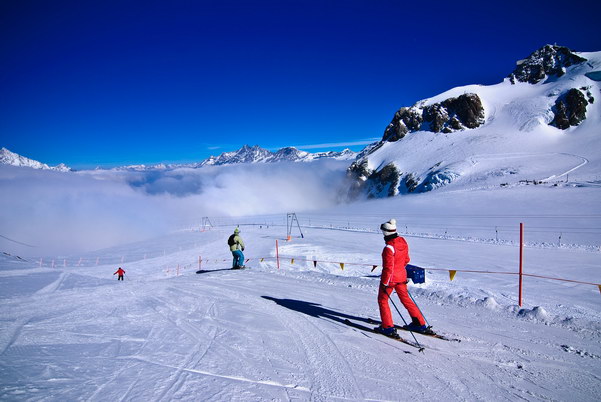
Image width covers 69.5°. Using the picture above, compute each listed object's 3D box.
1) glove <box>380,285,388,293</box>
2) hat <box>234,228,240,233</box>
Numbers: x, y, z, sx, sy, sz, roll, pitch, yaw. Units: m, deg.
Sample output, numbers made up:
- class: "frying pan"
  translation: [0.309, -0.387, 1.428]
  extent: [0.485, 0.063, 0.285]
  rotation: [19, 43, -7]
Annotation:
- class: "glove"
  translation: [6.468, 6.639, 32.852]
  extent: [0.237, 0.573, 0.447]
  rotation: [3, -10, -1]
- class: "hat"
  translation: [-5.971, 2.731, 41.198]
  extent: [0.412, 0.464, 0.521]
  rotation: [14, 21, 38]
